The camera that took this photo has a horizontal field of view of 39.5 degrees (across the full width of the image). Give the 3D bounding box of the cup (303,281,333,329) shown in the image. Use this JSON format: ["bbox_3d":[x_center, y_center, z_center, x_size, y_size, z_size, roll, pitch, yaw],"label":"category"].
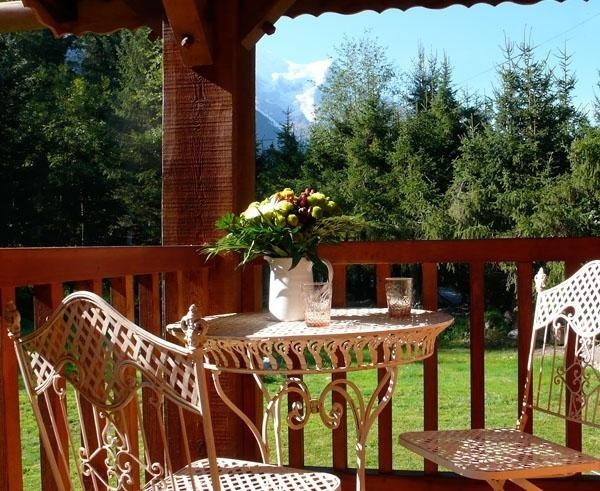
[{"bbox_3d":[0.085,0.269,3.905,0.132,0.210,0.162,0,-5,3],"label":"cup"}]

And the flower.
[{"bbox_3d":[-0.110,-0.085,4.027,0.446,0.269,0.475,-12,5,-3],"label":"flower"}]
